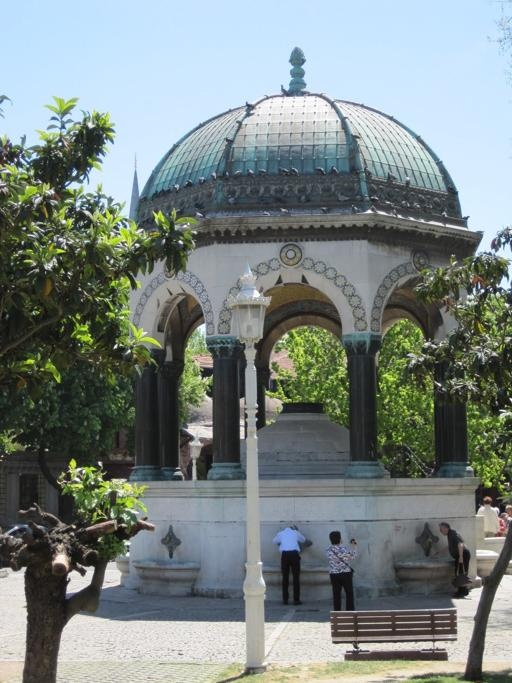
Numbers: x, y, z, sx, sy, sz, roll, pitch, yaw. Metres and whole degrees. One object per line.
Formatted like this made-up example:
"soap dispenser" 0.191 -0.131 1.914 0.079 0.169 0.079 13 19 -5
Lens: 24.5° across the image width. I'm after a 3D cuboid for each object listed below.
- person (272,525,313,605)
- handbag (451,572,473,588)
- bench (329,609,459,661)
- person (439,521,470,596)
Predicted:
"person" 0.568 3.655 19.529 0.509 1.253 0.875 -1 -7 1
"handbag" 3.551 4.077 20.254 0.260 0.182 0.263 -3 0 -13
"bench" 1.639 3.448 13.983 1.460 0.663 0.965 -2 -7 6
"person" 3.491 3.742 20.485 0.479 1.254 0.719 -2 -7 8
